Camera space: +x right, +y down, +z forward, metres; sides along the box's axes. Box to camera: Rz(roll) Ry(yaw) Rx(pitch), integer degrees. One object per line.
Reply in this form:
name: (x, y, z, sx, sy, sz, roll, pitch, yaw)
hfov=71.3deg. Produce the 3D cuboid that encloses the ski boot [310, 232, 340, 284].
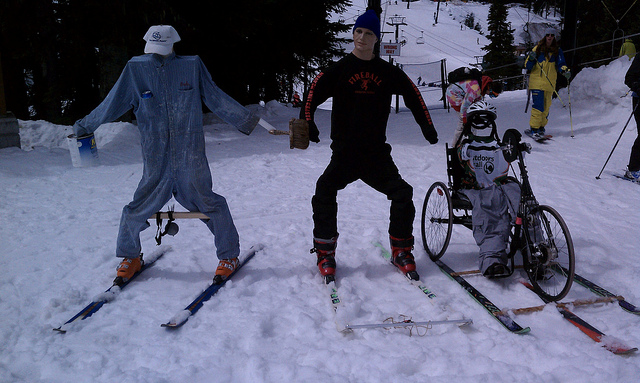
ski boot: (0.045, 0.963, 6.476, 0.375, 0.616, 0.378, 2, 17, 2)

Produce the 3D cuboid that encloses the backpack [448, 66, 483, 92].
backpack: (2.753, -2.156, 8.488, 0.627, 0.400, 0.338, 6, 17, 15)

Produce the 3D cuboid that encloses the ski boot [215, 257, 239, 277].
ski boot: (-1.336, 1.071, 6.351, 0.208, 0.206, 0.330, 6, 17, 13)
